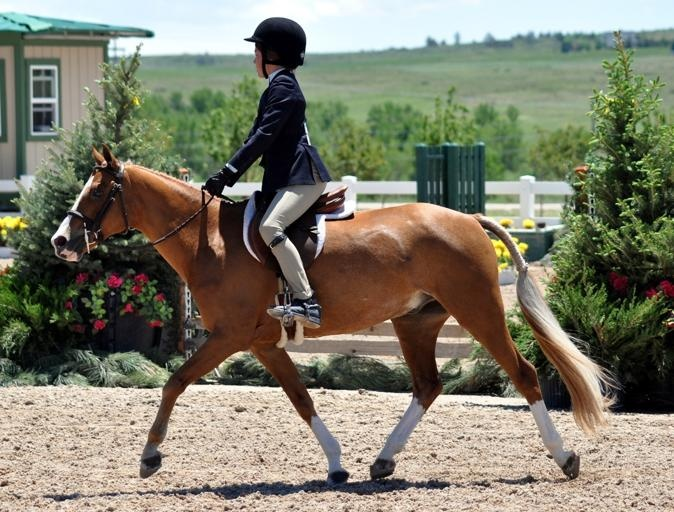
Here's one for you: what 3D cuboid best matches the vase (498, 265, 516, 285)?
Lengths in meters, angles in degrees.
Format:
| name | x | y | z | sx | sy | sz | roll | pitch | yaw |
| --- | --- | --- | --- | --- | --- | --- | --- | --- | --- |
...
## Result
| name | x | y | z | sx | sy | sz | roll | pitch | yaw |
| --- | --- | --- | --- | --- | --- | --- | --- | --- | --- |
| vase | 2.830 | 0.344 | 21.450 | 0.332 | 0.288 | 0.257 | -4 | 8 | -28 |

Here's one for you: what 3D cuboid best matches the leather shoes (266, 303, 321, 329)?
| name | x | y | z | sx | sy | sz | roll | pitch | yaw |
| --- | --- | --- | --- | --- | --- | --- | --- | --- | --- |
| leather shoes | -0.441 | 0.612 | 13.452 | 0.547 | 0.286 | 0.233 | 12 | -8 | -8 |

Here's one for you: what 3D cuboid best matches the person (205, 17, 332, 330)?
| name | x | y | z | sx | sy | sz | roll | pitch | yaw |
| --- | --- | --- | --- | --- | --- | --- | --- | --- | --- |
| person | -0.639 | -0.869 | 13.595 | 1.149 | 3.154 | 1.176 | -1 | 14 | -4 |

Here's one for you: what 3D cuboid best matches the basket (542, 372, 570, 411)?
| name | x | y | z | sx | sy | sz | roll | pitch | yaw |
| --- | --- | --- | --- | --- | --- | --- | --- | --- | --- |
| basket | 2.648 | 1.652 | 15.644 | 0.288 | 0.453 | 0.127 | -3 | 4 | 11 |
